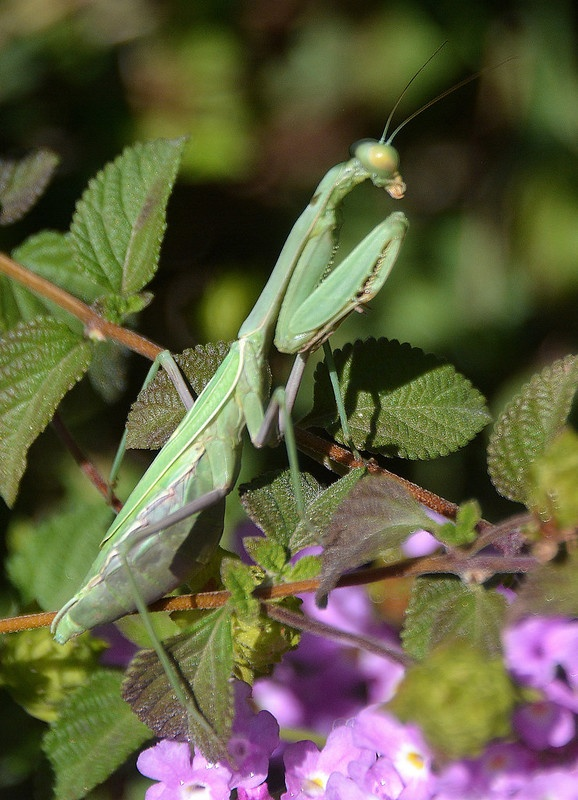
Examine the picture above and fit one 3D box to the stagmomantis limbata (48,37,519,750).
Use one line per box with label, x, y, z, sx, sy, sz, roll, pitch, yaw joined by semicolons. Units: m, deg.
stagmomantis limbata;-0.108;-0.077;0.988;0.579;0.580;0.460;-21;38;-18
